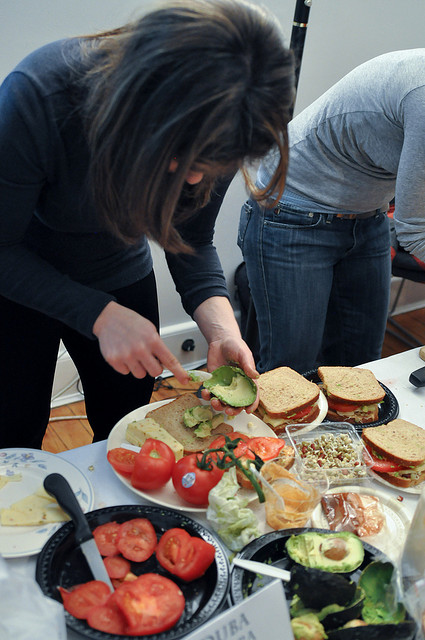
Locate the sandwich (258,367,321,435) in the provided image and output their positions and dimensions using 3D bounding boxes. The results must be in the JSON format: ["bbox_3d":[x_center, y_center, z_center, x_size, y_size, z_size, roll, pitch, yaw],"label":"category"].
[{"bbox_3d":[0.167,0.167,1.153,0.143,0.048,0.169,-32,29,-17],"label":"sandwich"}]

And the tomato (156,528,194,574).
[{"bbox_3d":[-0.051,0.319,0.703,0.053,0.026,0.060,-18,24,-39],"label":"tomato"}]

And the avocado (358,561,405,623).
[{"bbox_3d":[0.206,0.335,0.631,0.052,0.018,0.055,-3,42,-11],"label":"avocado"}]

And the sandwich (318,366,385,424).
[{"bbox_3d":[0.314,0.169,1.182,0.129,0.055,0.202,-2,15,4],"label":"sandwich"}]

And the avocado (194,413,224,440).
[{"bbox_3d":[-0.007,0.211,1.023,0.028,0.025,0.062,49,28,1],"label":"avocado"}]

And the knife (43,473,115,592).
[{"bbox_3d":[-0.182,0.293,0.703,0.031,0.083,0.196,-14,27,-33],"label":"knife"}]

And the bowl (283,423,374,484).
[{"bbox_3d":[0.207,0.236,0.920,0.108,0.027,0.099,7,32,-5],"label":"bowl"}]

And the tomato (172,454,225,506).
[{"bbox_3d":[-0.029,0.254,0.822,0.080,0.073,0.060,20,28,36],"label":"tomato"}]

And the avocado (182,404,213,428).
[{"bbox_3d":[-0.034,0.192,1.030,0.050,0.013,0.035,-17,60,-23],"label":"avocado"}]

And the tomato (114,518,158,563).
[{"bbox_3d":[-0.108,0.315,0.741,0.057,0.069,0.018,3,4,2],"label":"tomato"}]
